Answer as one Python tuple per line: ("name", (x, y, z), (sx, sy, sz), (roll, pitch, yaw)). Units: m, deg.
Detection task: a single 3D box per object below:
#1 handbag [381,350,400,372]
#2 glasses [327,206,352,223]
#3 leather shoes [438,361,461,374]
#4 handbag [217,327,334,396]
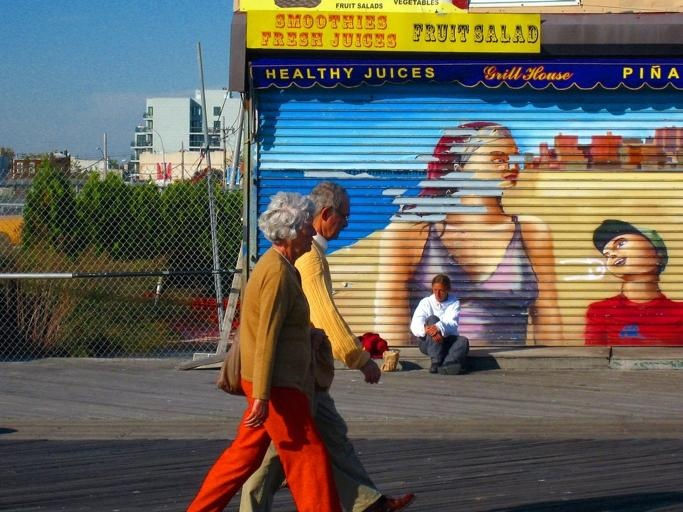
("handbag", (0.696, 1.534, 19.876), (0.280, 0.305, 0.273), (4, 3, 35))
("glasses", (-0.023, -0.450, 15.011), (0.185, 0.192, 0.062), (1, -1, 45))
("leather shoes", (1.565, 1.629, 19.775), (0.294, 0.145, 0.292), (-1, 3, 17))
("handbag", (-0.657, 1.165, 14.506), (1.050, 1.021, 0.694), (-2, 2, -16))
